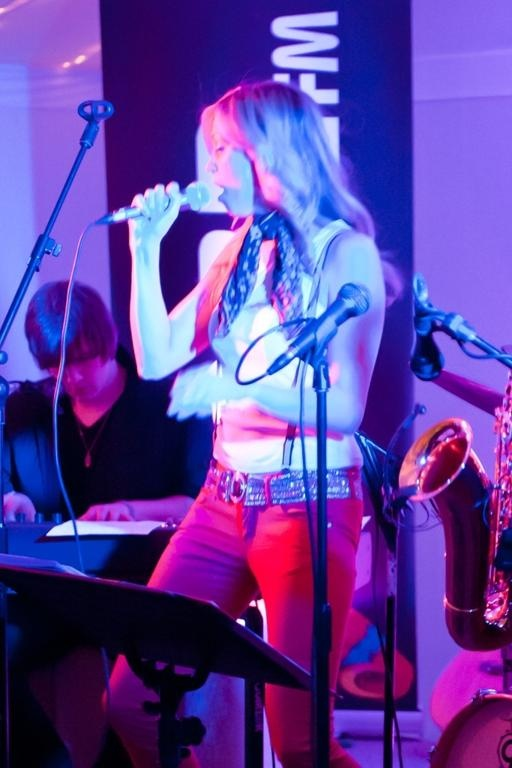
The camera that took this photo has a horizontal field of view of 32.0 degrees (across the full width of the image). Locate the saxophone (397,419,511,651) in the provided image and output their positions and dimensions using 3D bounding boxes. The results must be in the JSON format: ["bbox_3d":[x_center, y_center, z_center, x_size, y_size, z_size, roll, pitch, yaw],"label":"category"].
[{"bbox_3d":[0.499,0.347,2.264,0.226,0.714,0.261,-1,4,2],"label":"saxophone"}]

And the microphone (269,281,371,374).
[{"bbox_3d":[0.111,-0.096,1.511,0.218,0.140,0.051,-8,11,-39],"label":"microphone"}]

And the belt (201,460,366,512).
[{"bbox_3d":[0.038,0.196,1.816,0.335,0.095,0.179,5,11,25],"label":"belt"}]
